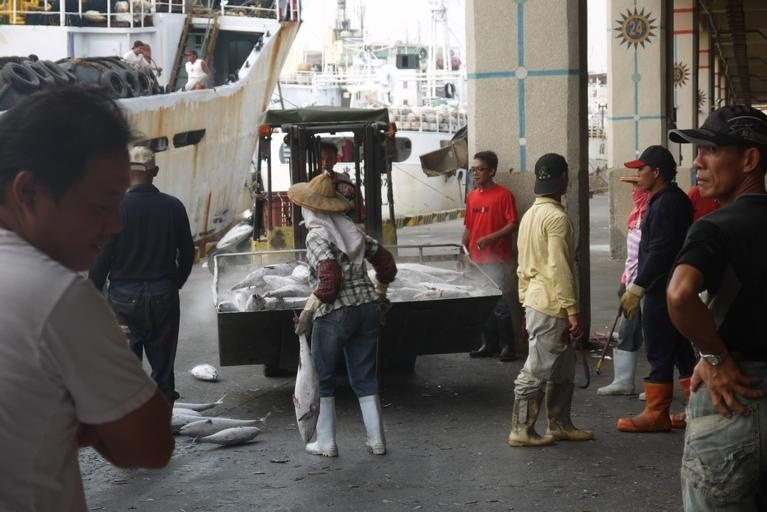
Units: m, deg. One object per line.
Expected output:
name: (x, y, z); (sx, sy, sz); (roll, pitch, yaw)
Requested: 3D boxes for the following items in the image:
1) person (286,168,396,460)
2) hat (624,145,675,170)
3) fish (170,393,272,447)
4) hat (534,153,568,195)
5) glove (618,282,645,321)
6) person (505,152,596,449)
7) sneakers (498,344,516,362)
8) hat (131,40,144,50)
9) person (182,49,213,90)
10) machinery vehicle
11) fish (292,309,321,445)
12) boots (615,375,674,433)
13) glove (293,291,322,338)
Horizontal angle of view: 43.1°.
person: (-0.322, 0.438, 7.678); (0.759, 2.191, 0.642); (-2, 8, -7)
hat: (2.278, -0.813, 8.283); (0.367, 0.205, 0.246); (9, 8, 25)
fish: (-1.303, 1.442, 8.086); (0.918, 0.353, 0.269); (-3, -36, -16)
hat: (1.343, -0.690, 7.764); (0.220, 0.356, 0.179); (1, -33, 18)
glove: (1.984, 0.358, 7.825); (0.116, 0.337, 0.239); (15, 8, 12)
person: (1.307, 0.357, 7.686); (0.617, 2.280, 0.531); (0, 8, 9)
sneakers: (1.348, 1.048, 10.532); (0.128, 0.148, 0.338); (-1, -8, 7)
hat: (-4.769, -4.111, 18.939); (0.190, 0.162, 0.449); (-3, 9, -15)
person: (-3.917, -3.884, 20.342); (0.528, 0.814, 0.943); (-2, 8, -10)
machinery vehicle: (-0.764, -0.710, 13.807); (3.668, 2.075, 1.982); (6, -10, 31)
fish: (-0.585, 0.997, 7.474); (0.319, 0.856, 0.195); (2, -7, -4)
boots: (2.116, 1.261, 8.018); (0.543, 0.533, 0.271); (3, 2, 16)
glove: (-0.587, 0.455, 7.548); (0.183, 0.340, 0.095); (36, 6, 26)
